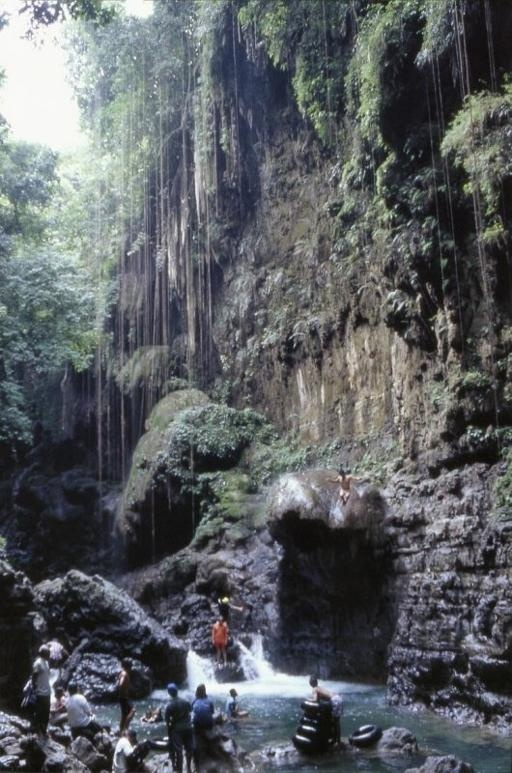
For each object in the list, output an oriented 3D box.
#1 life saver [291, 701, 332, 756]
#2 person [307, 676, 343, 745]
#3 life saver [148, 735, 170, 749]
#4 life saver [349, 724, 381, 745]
[{"bbox_3d":[0.846,5.261,18.154,0.468,1.087,0.607,-2,-6,28],"label":"life saver"},{"bbox_3d":[1.092,5.111,18.406,0.426,1.285,0.328,-4,18,19],"label":"person"},{"bbox_3d":[-1.519,5.514,17.964,0.331,0.205,1.388,-3,-20,-6],"label":"life saver"},{"bbox_3d":[1.687,5.422,18.054,0.504,0.349,0.273,-8,-15,11],"label":"life saver"}]
